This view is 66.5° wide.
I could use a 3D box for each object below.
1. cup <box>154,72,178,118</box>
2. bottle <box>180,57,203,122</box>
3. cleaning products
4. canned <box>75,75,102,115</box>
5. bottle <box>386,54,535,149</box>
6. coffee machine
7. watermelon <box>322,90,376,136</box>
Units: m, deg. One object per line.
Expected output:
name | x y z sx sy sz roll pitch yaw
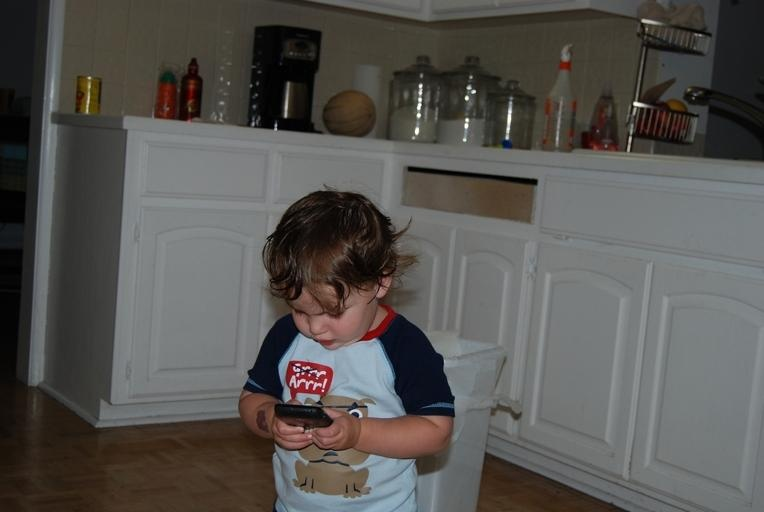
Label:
cup | -1.058 -0.796 2.855 0.108 0.240 0.229 0 11 -21
bottle | -0.926 -0.806 2.812 0.101 0.300 0.205 1 11 -19
cleaning products | 0.849 -0.763 2.787 0.163 0.534 0.162 8 -3 -7
canned | -1.391 -0.762 2.758 0.104 0.172 0.087 0 11 -25
bottle | 0.391 -0.817 3.089 0.471 0.470 0.806 -4 11 -38
coffee machine | -0.503 -0.911 3.024 0.279 0.514 0.298 -4 21 -31
watermelon | -0.179 -0.730 3.008 0.275 0.247 0.243 0 13 -10
